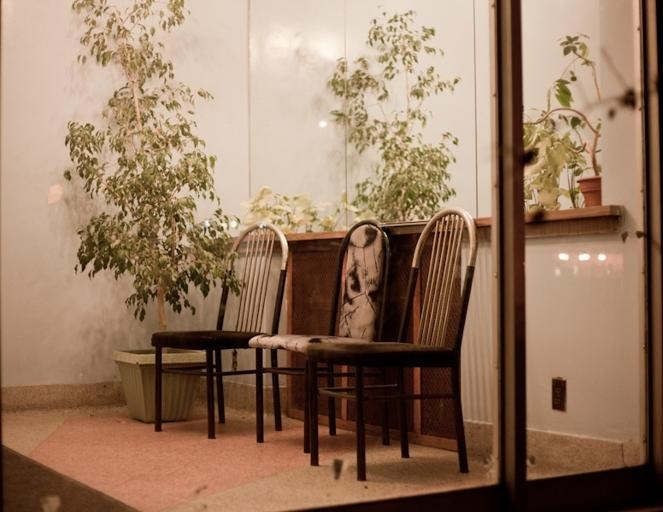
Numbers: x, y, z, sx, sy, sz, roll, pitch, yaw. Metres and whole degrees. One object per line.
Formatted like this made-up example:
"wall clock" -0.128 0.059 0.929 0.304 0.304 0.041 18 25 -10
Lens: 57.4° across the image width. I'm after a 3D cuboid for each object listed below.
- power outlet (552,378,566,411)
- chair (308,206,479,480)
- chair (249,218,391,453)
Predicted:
"power outlet" 0.790 0.479 2.093 0.013 0.117 0.054 -2 1 -42
"chair" 0.233 0.290 2.348 0.567 1.040 0.577 3 -4 0
"chair" -0.007 0.321 2.551 0.498 1.100 0.461 7 -4 -37
